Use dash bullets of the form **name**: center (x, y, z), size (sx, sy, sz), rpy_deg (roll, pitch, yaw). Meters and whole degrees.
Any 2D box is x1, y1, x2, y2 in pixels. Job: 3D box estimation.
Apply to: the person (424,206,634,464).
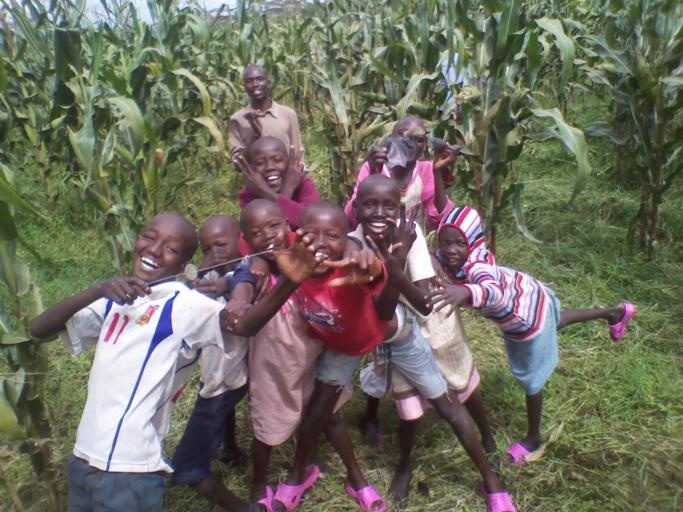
- **person**: center (1.214, 0.502, 3.821), size (1.540, 1.616, 0.667), rpy_deg (-3, 20, -13)
